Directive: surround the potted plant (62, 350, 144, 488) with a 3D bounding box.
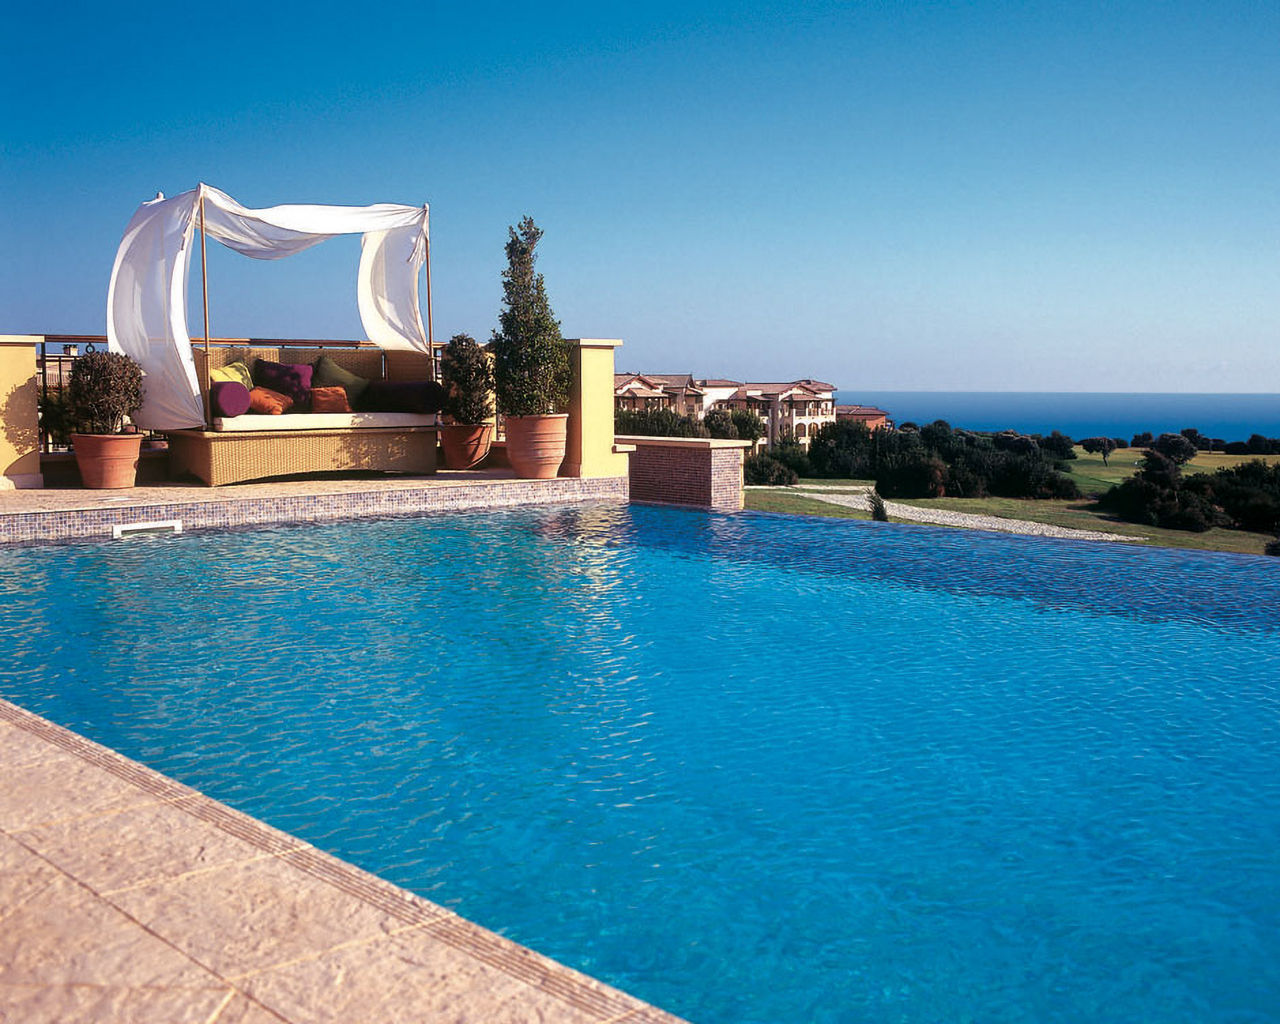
[{"bbox_3d":[-6.254,-1.081,11.598,0.797,1.615,0.682,-5,13,-30],"label":"potted plant"}]

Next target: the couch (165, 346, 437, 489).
[{"bbox_3d":[-4.556,-1.342,13.456,3.536,1.754,2.321,-8,14,-41],"label":"couch"}]

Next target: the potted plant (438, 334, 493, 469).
[{"bbox_3d":[-2.428,-1.487,13.709,0.719,1.904,0.741,-1,12,-11],"label":"potted plant"}]

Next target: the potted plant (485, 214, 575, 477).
[{"bbox_3d":[-1.510,-2.197,13.172,0.844,3.426,1.045,-4,13,-26],"label":"potted plant"}]
